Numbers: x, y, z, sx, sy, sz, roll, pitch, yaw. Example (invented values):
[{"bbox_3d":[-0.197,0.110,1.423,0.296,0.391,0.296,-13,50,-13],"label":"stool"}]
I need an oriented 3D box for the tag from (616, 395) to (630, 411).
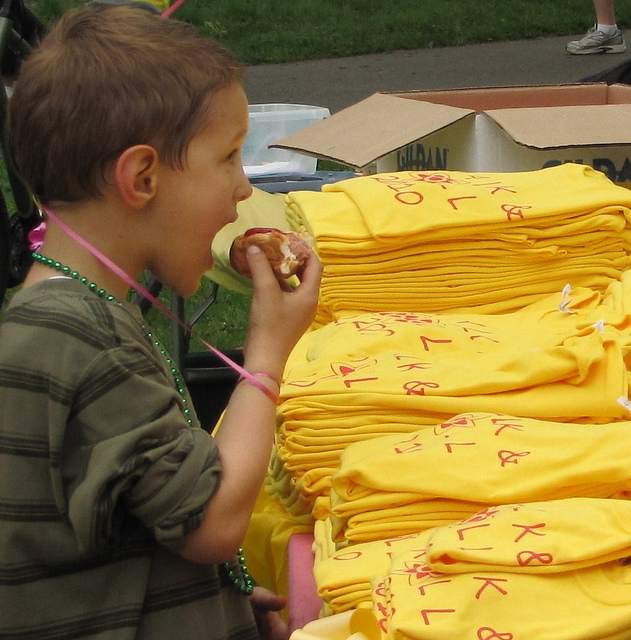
[{"bbox_3d":[0.492,0.129,1.801,0.019,0.013,0.036,-10,13,-11],"label":"tag"}]

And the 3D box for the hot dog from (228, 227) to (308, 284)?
[{"bbox_3d":[-0.088,-0.098,1.906,0.134,0.058,0.103,15,15,13],"label":"hot dog"}]

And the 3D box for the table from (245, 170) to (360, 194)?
[{"bbox_3d":[-0.029,-0.411,3.365,0.304,0.063,0.275,-5,13,-20],"label":"table"}]

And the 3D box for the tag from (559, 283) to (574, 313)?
[{"bbox_3d":[0.461,-0.040,2.097,0.024,0.043,0.065,-6,14,12],"label":"tag"}]
